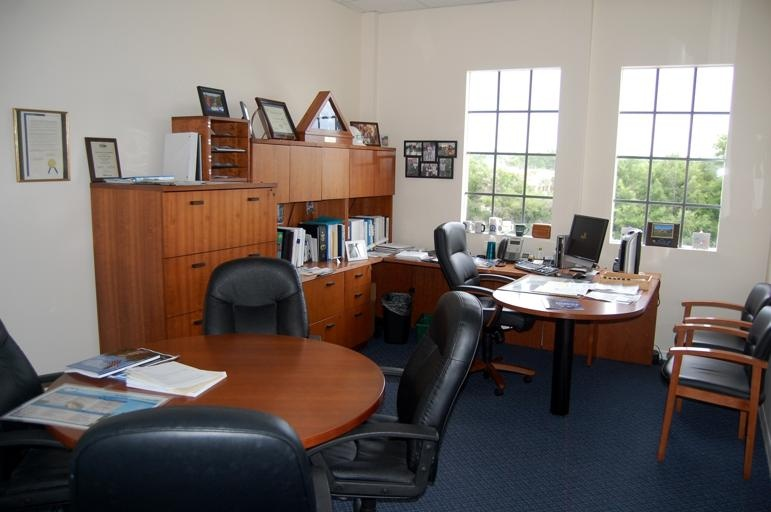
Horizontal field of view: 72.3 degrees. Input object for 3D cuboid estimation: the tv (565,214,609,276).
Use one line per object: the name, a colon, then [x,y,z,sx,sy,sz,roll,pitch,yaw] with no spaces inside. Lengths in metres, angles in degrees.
tv: [2.029,-0.098,5.304,0.217,0.516,0.540,-2,17,-13]

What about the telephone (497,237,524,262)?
telephone: [1.383,-0.091,5.927,0.269,0.264,0.332,7,23,25]

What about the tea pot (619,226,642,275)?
tea pot: [2.393,-0.038,5.149,0.195,0.399,0.379,7,15,24]

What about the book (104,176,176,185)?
book: [-1.845,-0.568,3.958,0.596,0.051,0.232,5,13,17]

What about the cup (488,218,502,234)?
cup: [1.251,-0.344,6.019,0.187,0.176,0.128,3,8,14]

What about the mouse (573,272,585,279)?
mouse: [1.886,0.194,5.109,0.112,0.037,0.178,5,13,17]

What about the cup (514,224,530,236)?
cup: [1.550,-0.285,5.946,0.154,0.130,0.105,6,8,24]

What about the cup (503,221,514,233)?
cup: [1.415,-0.328,6.104,0.128,0.117,0.071,5,14,15]

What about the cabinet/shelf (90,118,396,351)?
cabinet/shelf: [-1.122,-0.077,4.867,0.789,2.291,2.782,11,17,36]

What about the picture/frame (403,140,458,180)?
picture/frame: [0.566,-1.163,6.307,0.520,0.348,0.036,5,15,22]
